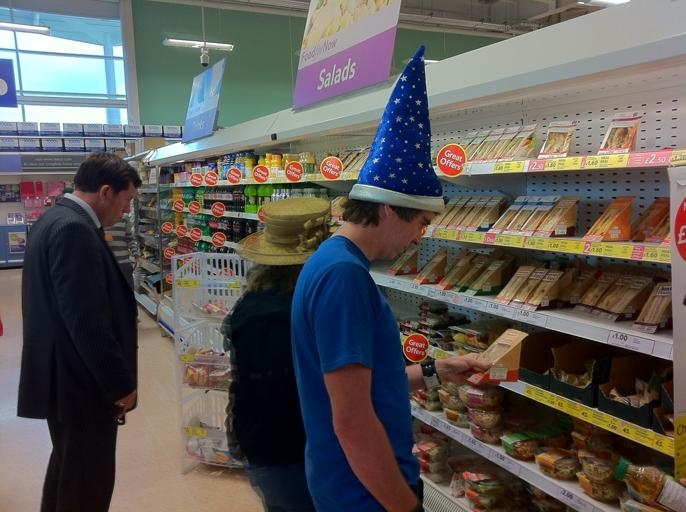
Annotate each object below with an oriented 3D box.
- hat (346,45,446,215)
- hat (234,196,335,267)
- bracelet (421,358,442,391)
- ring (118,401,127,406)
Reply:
[{"bbox_3d":[0.189,-0.438,1.468,0.305,0.580,0.372,1,9,12],"label":"hat"},{"bbox_3d":[-0.237,-0.098,1.636,0.283,0.092,0.291,6,31,17],"label":"hat"},{"bbox_3d":[0.395,0.480,1.821,0.078,0.115,0.116,-18,48,2],"label":"bracelet"},{"bbox_3d":[-1.163,0.767,2.291,0.030,0.030,0.011,-35,4,28],"label":"ring"}]
